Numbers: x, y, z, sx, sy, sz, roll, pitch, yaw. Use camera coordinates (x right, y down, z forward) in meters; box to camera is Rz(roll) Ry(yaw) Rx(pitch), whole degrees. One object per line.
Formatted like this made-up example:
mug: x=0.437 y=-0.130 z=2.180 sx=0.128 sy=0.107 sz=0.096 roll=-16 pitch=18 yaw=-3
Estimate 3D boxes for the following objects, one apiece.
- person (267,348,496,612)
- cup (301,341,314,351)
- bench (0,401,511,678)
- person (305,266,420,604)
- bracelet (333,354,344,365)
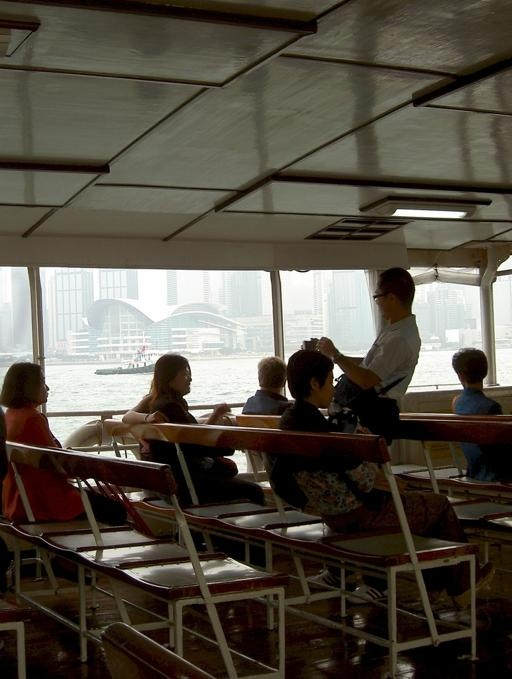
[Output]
person: x=0.652 y=0.673 z=2.974 sx=1.254 sy=1.233 sz=0.591 roll=4 pitch=9 yaw=-7
cup: x=0.268 y=0.031 z=3.316 sx=0.057 sy=0.048 sz=0.094 roll=0 pitch=-1 yaw=10
bench: x=-0.084 y=0.879 z=2.597 sx=1.085 sy=0.972 sz=1.610 roll=-2 pitch=-6 yaw=-36
person: x=0.647 y=0.387 z=3.563 sx=0.651 sy=1.439 sz=0.609 roll=0 pitch=7 yaw=33
bracelet: x=0.406 y=0.096 z=3.152 sx=0.033 sy=0.043 sz=0.052 roll=-1 pitch=-2 yaw=-29
